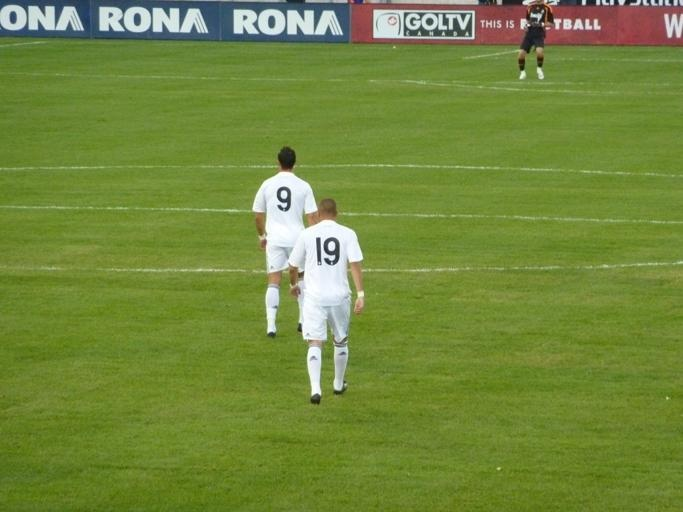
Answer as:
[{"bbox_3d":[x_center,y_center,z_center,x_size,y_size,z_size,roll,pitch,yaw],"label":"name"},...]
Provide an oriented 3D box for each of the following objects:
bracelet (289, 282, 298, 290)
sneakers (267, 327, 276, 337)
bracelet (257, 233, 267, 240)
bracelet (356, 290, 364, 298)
[{"bbox_3d":[-1.046,0.629,44.709,0.173,0.094,0.130,4,13,10],"label":"bracelet"},{"bbox_3d":[-1.581,1.702,45.845,0.190,0.148,0.307,2,10,-5],"label":"sneakers"},{"bbox_3d":[-1.777,-0.488,45.779,0.117,0.088,0.120,33,41,33],"label":"bracelet"},{"bbox_3d":[0.449,0.791,43.815,0.162,0.116,0.155,-2,1,-23],"label":"bracelet"}]
